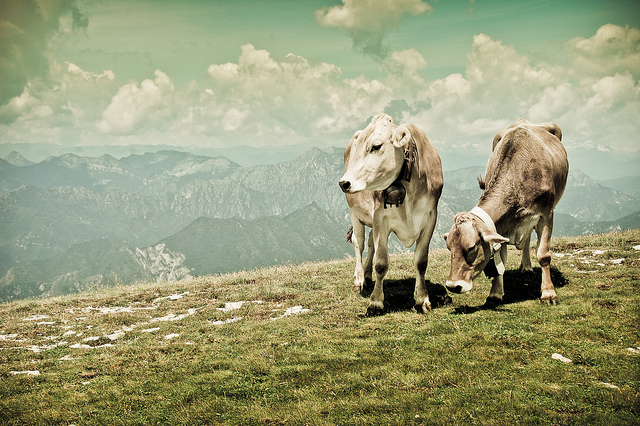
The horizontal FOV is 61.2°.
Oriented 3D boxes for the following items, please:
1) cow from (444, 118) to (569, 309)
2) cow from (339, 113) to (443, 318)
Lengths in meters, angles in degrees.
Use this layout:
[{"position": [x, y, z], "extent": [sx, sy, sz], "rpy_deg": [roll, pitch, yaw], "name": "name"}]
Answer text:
[{"position": [7.119, -0.110, 19.348], "extent": [2.736, 5.695, 10.280], "rpy_deg": [2, 21, 38], "name": "cow"}, {"position": [2.759, 0.177, 21.202], "extent": [3.726, 6.396, 10.794], "rpy_deg": [-4, -3, 4], "name": "cow"}]
